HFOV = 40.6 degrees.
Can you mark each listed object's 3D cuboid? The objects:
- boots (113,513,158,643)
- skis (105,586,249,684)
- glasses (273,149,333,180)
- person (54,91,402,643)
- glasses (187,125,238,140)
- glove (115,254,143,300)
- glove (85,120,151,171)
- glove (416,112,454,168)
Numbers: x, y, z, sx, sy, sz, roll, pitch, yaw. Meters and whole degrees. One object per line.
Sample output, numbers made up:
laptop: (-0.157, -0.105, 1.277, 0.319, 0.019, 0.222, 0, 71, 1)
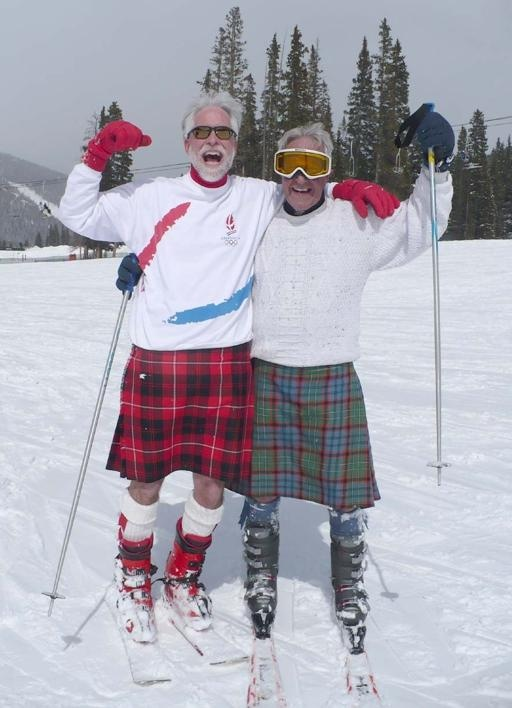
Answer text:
boots: (-0.535, 0.999, 3.035, 0.194, 0.506, 0.363, -3, -29, -21)
skis: (-0.363, 1.146, 2.967, 0.277, 0.068, 0.516, 3, 7, -25)
glasses: (0.190, -0.777, 2.825, 0.161, 0.083, 0.041, 3, 8, 8)
person: (-0.374, 0.033, 3.048, 0.790, 2.278, 0.530, 5, 14, 12)
glasses: (-0.182, -0.920, 2.880, 0.179, 0.057, 0.074, 1, 13, -2)
glove: (-0.566, -0.339, 3.019, 0.062, 0.162, 0.128, 28, 26, 25)
glove: (-0.589, -0.918, 2.921, 0.219, 0.096, 0.257, 19, -17, -24)
glove: (0.839, -1.028, 3.220, 0.167, 0.188, 0.229, -9, -9, 33)
